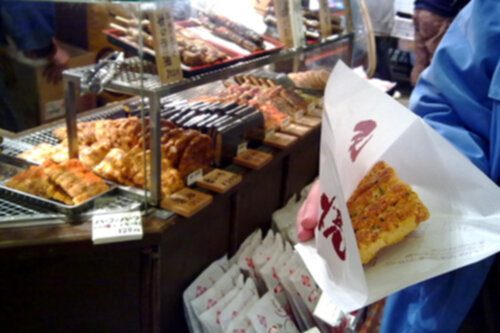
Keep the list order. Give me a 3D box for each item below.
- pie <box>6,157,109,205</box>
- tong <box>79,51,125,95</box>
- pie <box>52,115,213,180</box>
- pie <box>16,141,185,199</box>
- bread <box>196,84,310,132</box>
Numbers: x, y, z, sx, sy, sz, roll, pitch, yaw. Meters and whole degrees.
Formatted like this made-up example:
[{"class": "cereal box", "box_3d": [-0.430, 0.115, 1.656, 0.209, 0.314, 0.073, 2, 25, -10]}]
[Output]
[{"class": "pie", "box_3d": [-0.948, 0.066, 1.704, 0.314, 0.084, 0.249, 20, 30, 9]}, {"class": "tong", "box_3d": [-0.727, -0.497, 1.846, 0.124, 0.099, 0.369, 23, 46, 9]}, {"class": "pie", "box_3d": [-0.628, -0.166, 1.980, 0.582, 0.173, 0.461, 16, 22, 32]}, {"class": "pie", "box_3d": [-0.770, -0.112, 1.834, 0.685, 0.135, 0.368, 25, 24, 15]}, {"class": "bread", "box_3d": [0.131, -0.468, 2.527, 0.376, 0.117, 0.522, 28, 32, 28]}]
